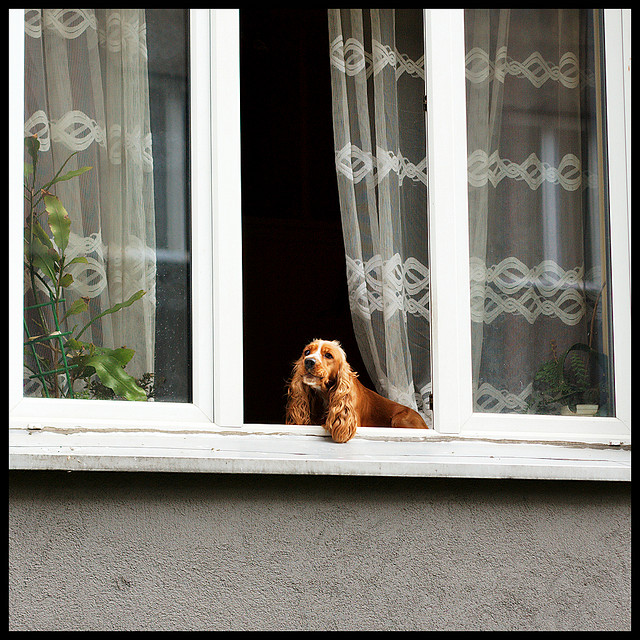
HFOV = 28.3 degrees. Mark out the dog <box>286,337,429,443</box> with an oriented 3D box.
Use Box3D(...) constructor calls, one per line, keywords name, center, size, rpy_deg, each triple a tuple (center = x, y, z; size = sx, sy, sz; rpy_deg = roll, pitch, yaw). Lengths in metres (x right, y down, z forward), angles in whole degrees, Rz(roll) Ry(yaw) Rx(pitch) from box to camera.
Box3D(name="dog", center=(0.111, 0.202, 4.004), size=(0.457, 0.275, 0.366), rpy_deg=(-3, 7, 10))
